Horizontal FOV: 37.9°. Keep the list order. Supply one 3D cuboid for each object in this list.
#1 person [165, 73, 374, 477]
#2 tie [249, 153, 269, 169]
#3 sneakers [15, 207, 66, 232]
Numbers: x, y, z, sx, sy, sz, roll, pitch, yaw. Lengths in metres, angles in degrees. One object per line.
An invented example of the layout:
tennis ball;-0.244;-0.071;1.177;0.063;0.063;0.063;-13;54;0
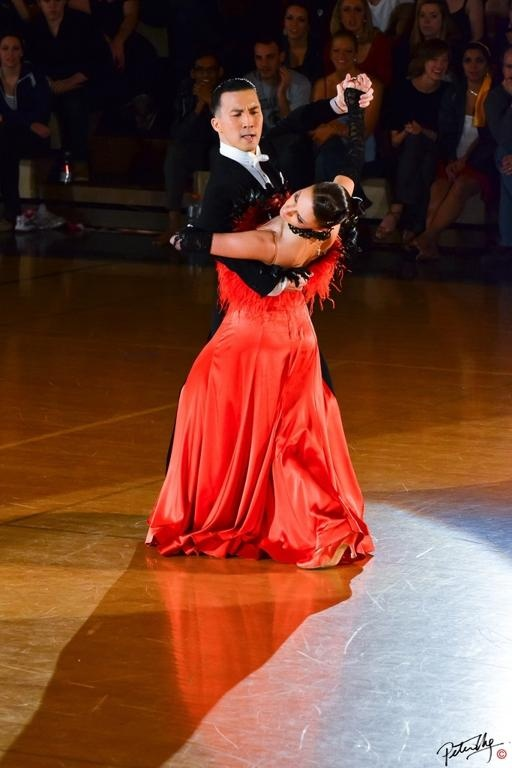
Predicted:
person;0.009;-0.369;2.258;0.523;1.229;0.648;5;8;28
tie;0.010;-0.629;2.109;0.052;0.018;0.050;0;12;-1
sneakers;-2.718;-2.066;9.326;0.635;0.256;0.294;-4;15;-7
